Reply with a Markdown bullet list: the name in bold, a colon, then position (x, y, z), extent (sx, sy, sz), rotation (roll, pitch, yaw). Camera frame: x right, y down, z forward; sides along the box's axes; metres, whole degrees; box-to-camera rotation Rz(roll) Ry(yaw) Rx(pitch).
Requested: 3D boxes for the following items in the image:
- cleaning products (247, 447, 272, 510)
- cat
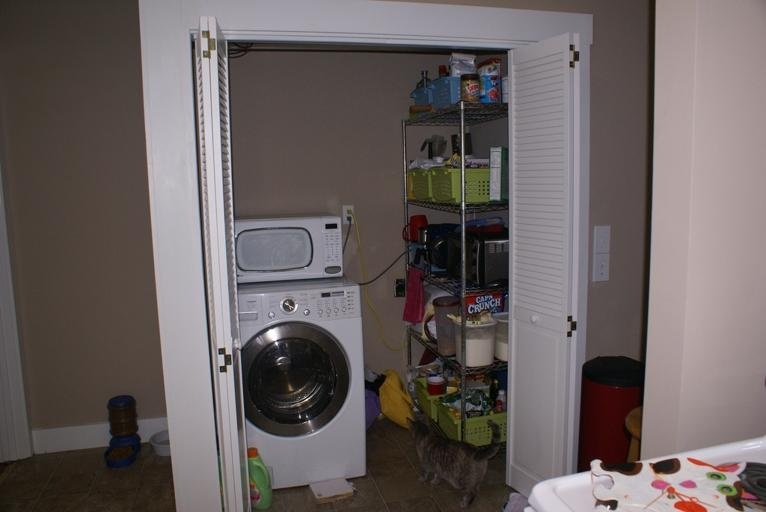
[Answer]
- **cleaning products**: position (-0.734, 1.319, 3.446), extent (0.150, 0.380, 0.095), rotation (-9, 9, -29)
- **cat**: position (0.395, 1.212, 3.597), extent (0.498, 0.504, 0.615), rotation (-1, 14, -14)
